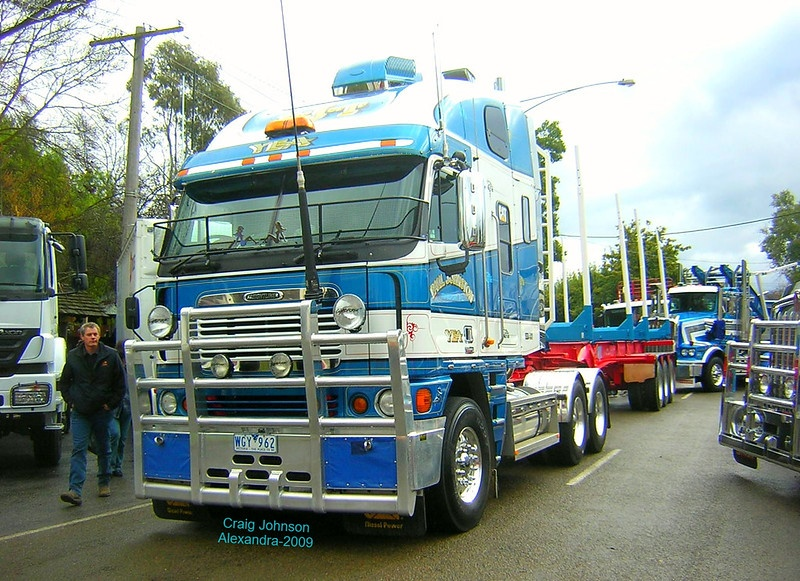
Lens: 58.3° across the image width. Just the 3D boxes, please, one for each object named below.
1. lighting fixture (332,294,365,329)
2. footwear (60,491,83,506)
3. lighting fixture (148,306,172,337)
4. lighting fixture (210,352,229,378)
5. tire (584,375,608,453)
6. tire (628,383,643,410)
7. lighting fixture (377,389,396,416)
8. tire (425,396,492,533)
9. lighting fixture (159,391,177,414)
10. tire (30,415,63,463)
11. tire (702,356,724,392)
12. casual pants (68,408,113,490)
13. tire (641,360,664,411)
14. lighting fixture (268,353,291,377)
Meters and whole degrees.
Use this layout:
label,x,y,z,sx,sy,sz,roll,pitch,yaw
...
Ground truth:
label,x,y,z,sx,sy,sz,roll,pitch,yaw
lighting fixture,-0.501,0.199,7.247,0.331,0.424,0.092,-2,31,-4
footwear,-4.416,2.798,9.621,0.252,0.212,0.325,-1,-5,-27
lighting fixture,-2.657,0.350,7.959,0.291,0.340,0.180,-4,-1,24
lighting fixture,-1.918,0.814,7.653,0.223,0.260,0.067,-3,-4,6
tire,3.383,2.176,12.409,0.369,1.342,1.180,-3,-1,27
tire,5.850,2.621,17.764,0.218,0.709,0.648,-3,-7,24
lighting fixture,-0.142,1.163,7.361,0.186,0.278,0.082,-6,-5,35
tire,0.625,1.978,8.026,0.408,1.319,1.155,-4,-21,26
lighting fixture,-2.623,1.286,8.105,0.190,0.267,0.149,-5,-1,2
tire,-6.179,2.678,12.733,0.238,0.847,0.783,-9,8,-13
tire,9.673,2.537,22.148,0.412,1.449,1.304,2,11,39
casual pants,-4.266,2.086,9.946,0.599,1.728,0.431,2,15,-28
tire,6.420,2.408,18.162,0.389,1.353,1.229,-3,-8,32
lighting fixture,-1.239,0.775,7.422,0.217,0.254,0.089,1,2,22
